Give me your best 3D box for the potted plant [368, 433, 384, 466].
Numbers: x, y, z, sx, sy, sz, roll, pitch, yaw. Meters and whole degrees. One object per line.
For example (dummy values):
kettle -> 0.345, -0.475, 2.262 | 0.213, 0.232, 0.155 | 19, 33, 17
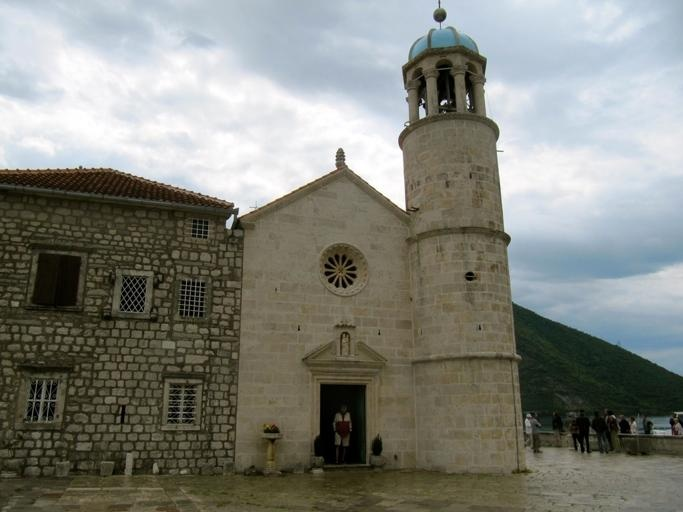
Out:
potted plant -> 1.425, 8.037, 23.175 | 0.580, 1.256, 0.394 | -1, -17, 2

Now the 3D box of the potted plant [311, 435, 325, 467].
potted plant -> -0.944, 7.822, 22.546 | 0.501, 1.230, 0.285 | 6, -18, -22
